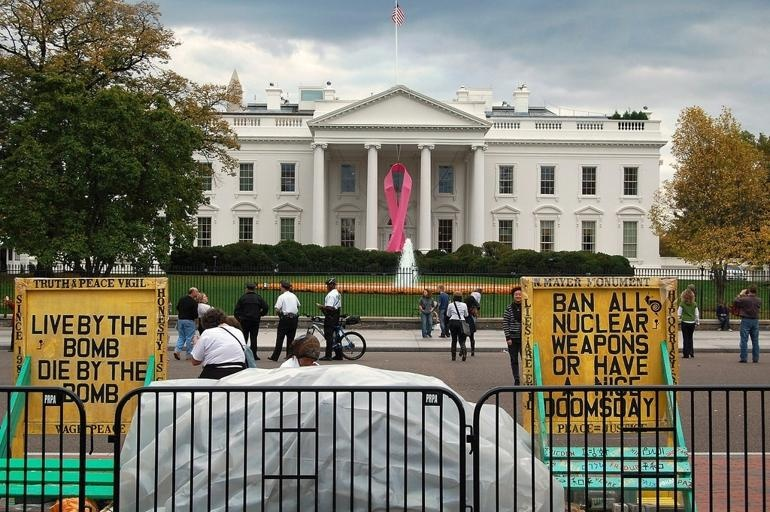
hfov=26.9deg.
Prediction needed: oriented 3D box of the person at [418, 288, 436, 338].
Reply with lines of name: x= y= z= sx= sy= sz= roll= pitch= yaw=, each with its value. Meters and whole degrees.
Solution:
person: x=1.722 y=2.301 z=65.413 sx=0.601 sy=1.952 sz=1.085 roll=0 pitch=-3 yaw=5

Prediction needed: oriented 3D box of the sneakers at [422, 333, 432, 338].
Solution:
sneakers: x=1.750 y=3.235 z=65.425 sx=0.374 sy=0.140 sz=0.120 roll=-14 pitch=-4 yaw=-10

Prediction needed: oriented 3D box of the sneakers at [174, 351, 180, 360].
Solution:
sneakers: x=-7.773 y=3.723 z=60.142 sx=0.157 sy=0.331 sz=0.152 roll=0 pitch=31 yaw=-1

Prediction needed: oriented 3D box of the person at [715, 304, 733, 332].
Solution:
person: x=14.265 y=2.549 z=67.596 sx=0.551 sy=1.108 sz=1.413 roll=0 pitch=-3 yaw=11

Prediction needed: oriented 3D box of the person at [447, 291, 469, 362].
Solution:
person: x=2.773 y=2.664 z=60.789 sx=0.791 sy=2.524 sz=0.727 roll=0 pitch=-3 yaw=7

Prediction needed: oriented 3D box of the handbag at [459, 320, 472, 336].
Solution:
handbag: x=3.022 y=2.715 z=60.618 sx=0.188 sy=0.521 sz=0.561 roll=-16 pitch=-11 yaw=28
